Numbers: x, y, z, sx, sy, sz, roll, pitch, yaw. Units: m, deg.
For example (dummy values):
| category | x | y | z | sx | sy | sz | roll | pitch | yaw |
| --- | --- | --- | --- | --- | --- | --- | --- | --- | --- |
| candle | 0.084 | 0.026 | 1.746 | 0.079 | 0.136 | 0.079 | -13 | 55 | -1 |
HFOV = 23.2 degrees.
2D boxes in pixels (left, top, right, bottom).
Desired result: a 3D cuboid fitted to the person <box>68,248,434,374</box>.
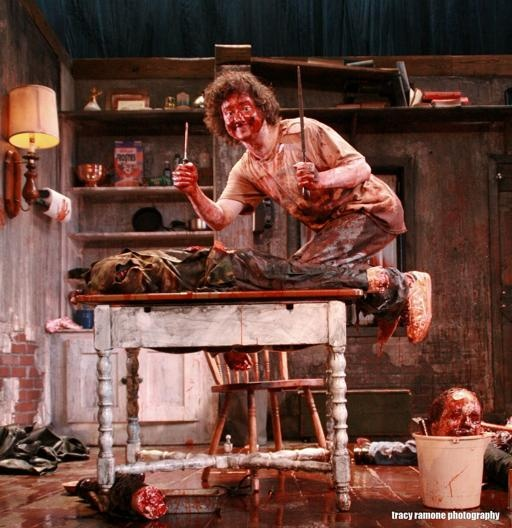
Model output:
| category | x | y | z | sx | sy | sz | roll | pitch | yaw |
| --- | --- | --- | --- | --- | --- | --- | --- | --- | --- |
| person | -0.009 | 0.289 | 6.615 | 1.949 | 0.629 | 0.682 | 1 | -8 | 3 |

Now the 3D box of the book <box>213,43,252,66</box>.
| category | x | y | z | sx | sy | sz | roll | pitch | yaw |
| --- | --- | --- | --- | --- | --- | --- | --- | --- | --- |
| book | -0.148 | -1.484 | 8.562 | 0.280 | 0.171 | 0.140 | -1 | 6 | -1 |

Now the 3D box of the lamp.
| category | x | y | z | sx | sy | sz | roll | pitch | yaw |
| --- | --- | --- | --- | --- | --- | --- | --- | --- | --- |
| lamp | -1.500 | -0.800 | 8.401 | 0.327 | 0.798 | 0.443 | -2 | 8 | -4 |

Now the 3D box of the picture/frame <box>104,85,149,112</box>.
| category | x | y | z | sx | sy | sz | roll | pitch | yaw |
| --- | --- | --- | --- | --- | --- | --- | --- | --- | --- |
| picture/frame | -0.977 | -1.271 | 9.619 | 0.284 | 0.061 | 0.246 | 0 | 28 | -2 |

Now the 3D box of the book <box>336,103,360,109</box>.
| category | x | y | z | sx | sy | sz | roll | pitch | yaw |
| --- | --- | --- | --- | --- | --- | --- | --- | --- | --- |
| book | 0.709 | -1.183 | 9.349 | 0.113 | 0.024 | 0.106 | -1 | 2 | -28 |

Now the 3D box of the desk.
| category | x | y | z | sx | sy | sz | roll | pitch | yaw |
| --- | --- | --- | --- | --- | --- | --- | --- | --- | --- |
| desk | -0.223 | 0.928 | 6.741 | 1.789 | 1.262 | 1.085 | -1 | -12 | -2 |

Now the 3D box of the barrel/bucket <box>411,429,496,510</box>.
| category | x | y | z | sx | sy | sz | roll | pitch | yaw |
| --- | --- | --- | --- | --- | --- | --- | --- | --- | --- |
| barrel/bucket | 1.012 | 1.061 | 6.358 | 0.343 | 0.309 | 0.386 | 1 | -12 | -5 |

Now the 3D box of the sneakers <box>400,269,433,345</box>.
| category | x | y | z | sx | sy | sz | roll | pitch | yaw |
| --- | --- | --- | --- | --- | --- | --- | --- | --- | --- |
| sneakers | 0.881 | 0.231 | 6.714 | 0.178 | 0.388 | 0.136 | -3 | -7 | -10 |

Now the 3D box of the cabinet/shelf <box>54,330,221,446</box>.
| category | x | y | z | sx | sy | sz | roll | pitch | yaw |
| --- | --- | --- | --- | --- | --- | --- | --- | --- | --- |
| cabinet/shelf | -0.713 | 0.826 | 8.036 | 0.939 | 0.636 | 0.325 | -1 | -8 | 1 |

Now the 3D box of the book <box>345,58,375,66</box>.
| category | x | y | z | sx | sy | sz | roll | pitch | yaw |
| --- | --- | --- | --- | --- | --- | --- | --- | --- | --- |
| book | 0.816 | -1.510 | 9.413 | 0.154 | 0.035 | 0.150 | 0 | 3 | 17 |

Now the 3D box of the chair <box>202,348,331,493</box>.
| category | x | y | z | sx | sy | sz | roll | pitch | yaw |
| --- | --- | --- | --- | --- | --- | --- | --- | --- | --- |
| chair | 0.036 | 0.932 | 7.735 | 0.798 | 1.081 | 0.817 | -9 | -11 | 35 |
